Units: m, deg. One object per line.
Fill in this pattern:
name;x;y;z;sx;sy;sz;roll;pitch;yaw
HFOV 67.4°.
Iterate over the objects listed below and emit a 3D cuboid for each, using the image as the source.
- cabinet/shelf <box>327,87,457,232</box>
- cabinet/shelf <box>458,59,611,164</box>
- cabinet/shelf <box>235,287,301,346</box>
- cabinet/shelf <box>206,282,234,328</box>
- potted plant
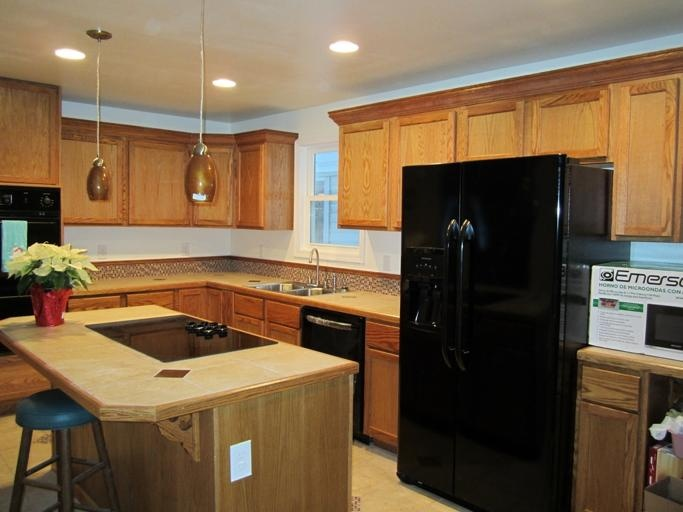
cabinet/shelf;0.402;-0.738;3.852;1.328;1.127;0.393;1;0;44
cabinet/shelf;1.187;-0.890;3.279;0.138;0.518;0.998;-3;9;-41
cabinet/shelf;-0.621;0.513;4.312;0.451;0.404;0.161;4;4;44
cabinet/shelf;-1.154;0.460;4.881;0.179;0.400;0.440;2;-1;-40
potted plant;-1.707;0.175;2.983;0.424;0.493;0.305;-1;8;-32
